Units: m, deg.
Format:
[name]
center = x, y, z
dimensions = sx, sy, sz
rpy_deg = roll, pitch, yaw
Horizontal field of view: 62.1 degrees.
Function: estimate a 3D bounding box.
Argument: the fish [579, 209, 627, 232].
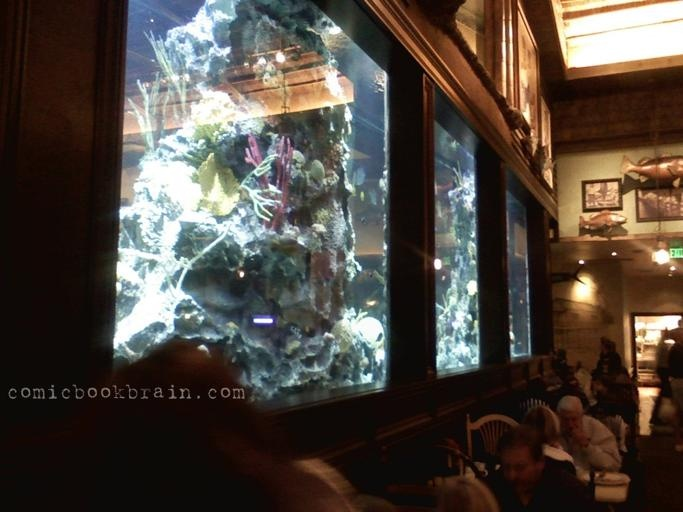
[fish]
center = 4.538, -0.630, 10.176
dimensions = 0.948, 0.535, 0.315
rpy_deg = -2, -3, 15
